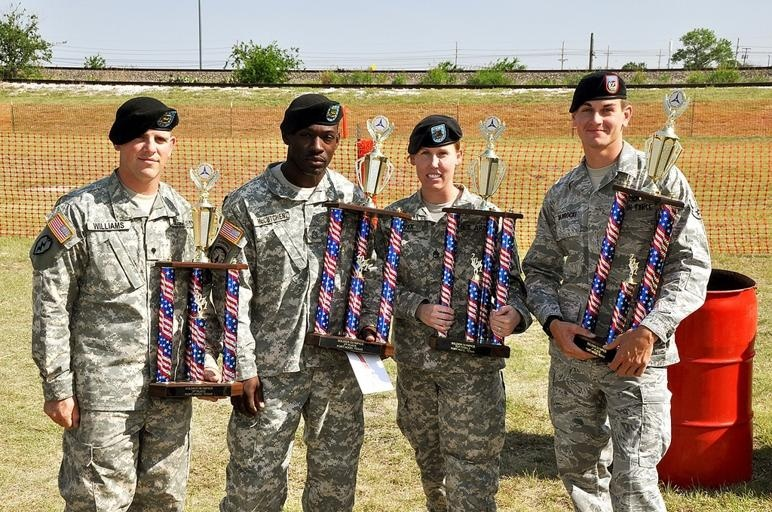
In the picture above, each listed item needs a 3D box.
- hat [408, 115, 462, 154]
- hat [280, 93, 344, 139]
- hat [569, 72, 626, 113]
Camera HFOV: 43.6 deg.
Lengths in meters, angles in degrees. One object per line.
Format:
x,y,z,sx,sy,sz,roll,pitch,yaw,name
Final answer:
0.472,-1.132,8.781,0.573,0.282,0.615,-7,4,19,hat
-0.697,-1.204,8.503,0.620,0.258,0.474,2,25,29,hat
1.812,-1.473,8.540,0.449,0.226,0.511,-8,-1,-35,hat
